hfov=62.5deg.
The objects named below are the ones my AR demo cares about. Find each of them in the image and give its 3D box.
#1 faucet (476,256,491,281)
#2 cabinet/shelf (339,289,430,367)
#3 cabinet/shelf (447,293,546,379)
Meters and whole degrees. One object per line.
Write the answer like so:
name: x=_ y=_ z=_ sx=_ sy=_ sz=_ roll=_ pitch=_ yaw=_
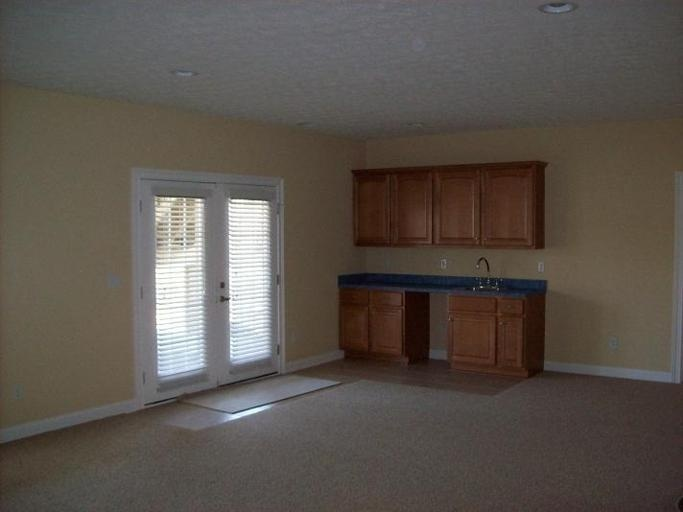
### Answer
faucet: x=1.902 y=0.171 z=7.558 sx=0.206 sy=0.320 sz=0.097 roll=1 pitch=5 yaw=23
cabinet/shelf: x=0.579 y=0.928 z=8.069 sx=1.546 sy=1.367 sz=0.909 roll=-2 pitch=-6 yaw=24
cabinet/shelf: x=1.886 y=0.949 z=7.343 sx=1.389 sy=1.339 sz=0.920 roll=-3 pitch=-7 yaw=34
